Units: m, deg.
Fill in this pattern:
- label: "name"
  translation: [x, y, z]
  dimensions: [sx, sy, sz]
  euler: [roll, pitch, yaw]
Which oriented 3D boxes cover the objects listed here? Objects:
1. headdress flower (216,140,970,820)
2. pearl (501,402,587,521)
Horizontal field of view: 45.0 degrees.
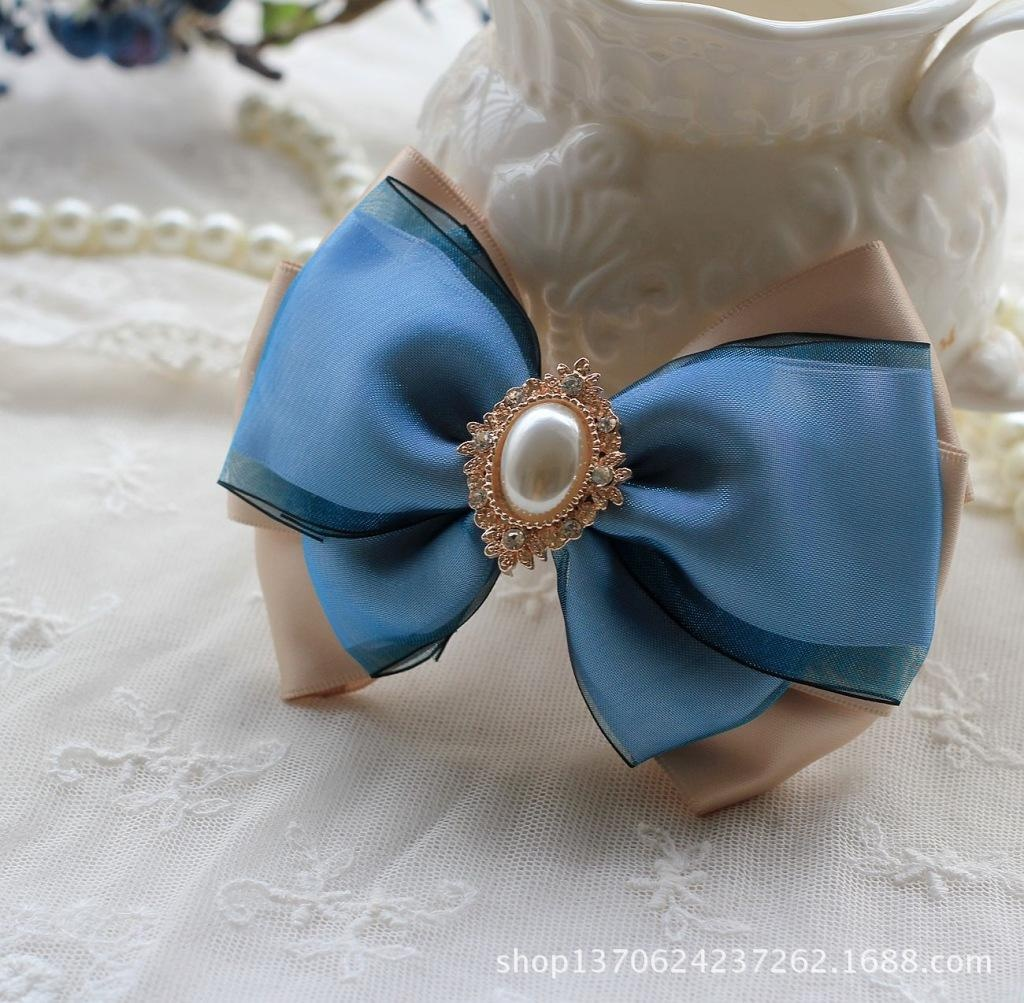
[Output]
- label: "headdress flower"
  translation: [0.047, -0.010, 0.728]
  dimensions: [0.439, 0.251, 0.311]
  euler: [20, 57, 14]
- label: "pearl"
  translation: [0.016, -0.022, 0.685]
  dimensions: [0.053, 0.049, 0.061]
  euler: [5, 54, 3]
